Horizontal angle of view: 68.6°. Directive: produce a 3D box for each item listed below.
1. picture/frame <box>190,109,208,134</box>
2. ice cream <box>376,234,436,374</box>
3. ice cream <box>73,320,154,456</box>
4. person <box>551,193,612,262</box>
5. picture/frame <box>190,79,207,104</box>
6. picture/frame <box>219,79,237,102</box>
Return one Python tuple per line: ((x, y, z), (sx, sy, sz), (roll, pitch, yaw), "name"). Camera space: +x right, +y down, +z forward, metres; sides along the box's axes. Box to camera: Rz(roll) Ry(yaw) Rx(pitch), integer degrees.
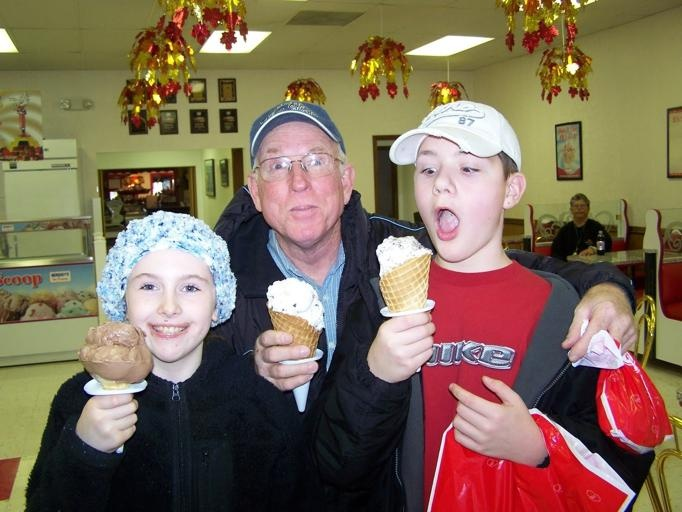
((-2.856, -2.743, 10.193), (0.381, 0.458, 0.105), (-4, 5, -9), "picture/frame")
((0.216, 0.070, 1.707), (0.182, 0.254, 0.255), (0, 6, 3), "ice cream")
((-0.675, 0.321, 1.520), (0.200, 0.247, 0.222), (-2, 6, -17), "ice cream")
((3.443, -0.287, 7.241), (0.824, 1.253, 0.657), (-3, -3, 34), "person")
((-2.863, -3.330, 10.017), (0.359, 0.503, 0.175), (-2, 6, -17), "picture/frame")
((-2.308, -3.391, 10.149), (0.416, 0.520, 0.065), (-2, 7, -13), "picture/frame")
